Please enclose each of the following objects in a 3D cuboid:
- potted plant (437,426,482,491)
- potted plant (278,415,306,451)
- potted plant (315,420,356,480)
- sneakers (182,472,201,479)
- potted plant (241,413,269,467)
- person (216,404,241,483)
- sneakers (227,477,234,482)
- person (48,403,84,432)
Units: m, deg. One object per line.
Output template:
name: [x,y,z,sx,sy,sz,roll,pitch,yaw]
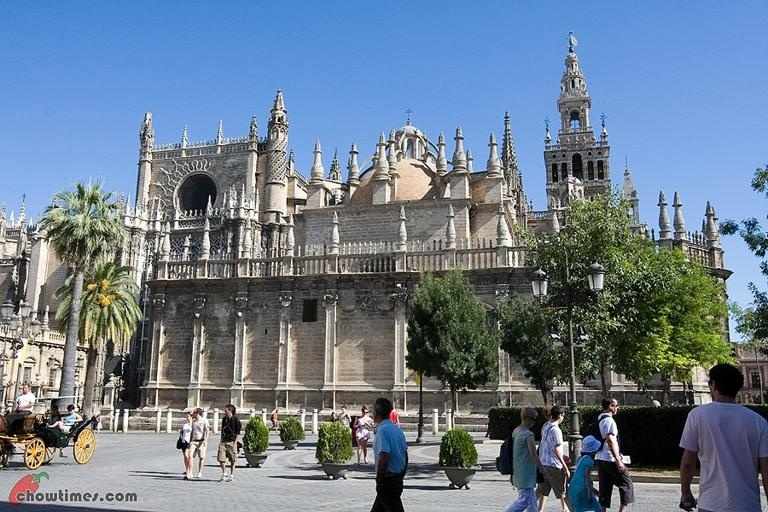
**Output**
potted plant: [2.480,6.691,26.299,1.181,1.913,0.518,-2,-11,4]
potted plant: [-4.012,7.670,34.591,0.804,1.396,1.252,-1,-11,1]
potted plant: [-1.694,6.746,27.563,1.202,1.902,0.703,0,-11,-4]
sneakers: [-6.550,7.565,27.375,0.681,0.275,0.230,23,-34,-39]
potted plant: [-4.712,6.814,29.305,0.873,1.880,1.144,1,-11,-11]
person: [-5.249,6.310,26.942,0.690,2.511,1.349,1,-11,-11]
sneakers: [-5.139,7.451,26.606,0.141,0.131,0.140,1,-15,-1]
person: [-12.077,6.167,29.987,0.766,0.903,1.308,-13,-29,28]
